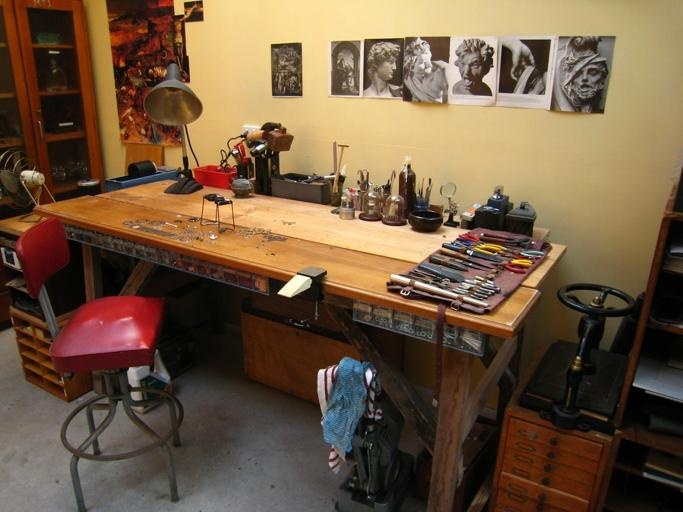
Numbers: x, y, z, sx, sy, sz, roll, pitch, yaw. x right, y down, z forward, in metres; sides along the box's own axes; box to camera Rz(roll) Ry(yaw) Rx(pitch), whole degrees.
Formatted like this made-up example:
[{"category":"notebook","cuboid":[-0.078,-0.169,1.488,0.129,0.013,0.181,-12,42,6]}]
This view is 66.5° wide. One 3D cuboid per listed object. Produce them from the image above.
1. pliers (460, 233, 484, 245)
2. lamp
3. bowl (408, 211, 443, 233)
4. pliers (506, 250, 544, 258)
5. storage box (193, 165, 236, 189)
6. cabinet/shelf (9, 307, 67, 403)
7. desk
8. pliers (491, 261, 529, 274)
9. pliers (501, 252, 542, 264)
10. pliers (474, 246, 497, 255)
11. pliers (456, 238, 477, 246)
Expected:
[{"category":"pliers","cuboid":[0.655,-0.086,2.638,0.069,0.026,0.069,-18,28,-39]},{"category":"lamp","cuboid":[-1.096,-0.868,3.524,0.345,0.814,0.618,-1,19,-7]},{"category":"bowl","cuboid":[0.450,-0.218,2.855,0.133,0.081,0.143,-1,21,0]},{"category":"pliers","cuboid":[0.891,-0.010,2.480,0.106,0.020,0.062,6,14,23]},{"category":"storage box","cuboid":[-0.856,-0.537,3.632,0.278,0.104,0.181,14,29,24]},{"category":"cabinet/shelf","cuboid":[-1.863,0.616,3.215,0.516,0.520,0.170,15,30,28]},{"category":"desk","cuboid":[-0.333,0.345,3.153,2.887,1.226,1.205,12,22,28]},{"category":"pliers","cuboid":[0.796,0.045,2.380,0.137,0.030,0.104,9,20,18]},{"category":"pliers","cuboid":[0.855,0.011,2.449,0.095,0.023,0.096,13,26,43]},{"category":"pliers","cuboid":[0.687,-0.023,2.498,0.102,0.018,0.097,9,20,19]},{"category":"pliers","cuboid":[0.623,-0.068,2.608,0.054,0.019,0.057,8,17,28]}]
